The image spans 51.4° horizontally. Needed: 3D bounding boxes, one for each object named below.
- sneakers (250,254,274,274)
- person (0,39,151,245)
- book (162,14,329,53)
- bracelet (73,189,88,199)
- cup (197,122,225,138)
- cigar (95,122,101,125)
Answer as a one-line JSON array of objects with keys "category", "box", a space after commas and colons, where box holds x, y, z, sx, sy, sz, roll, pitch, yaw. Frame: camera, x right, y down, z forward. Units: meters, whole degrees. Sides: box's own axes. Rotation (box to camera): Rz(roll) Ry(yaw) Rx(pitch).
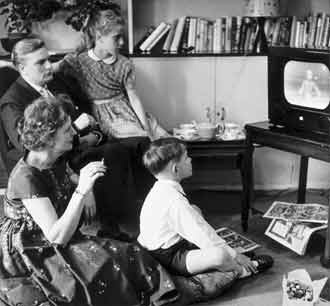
[{"category": "sneakers", "box": [0.493, 0.550, 1.715, 0.121, 0.059, 0.049, -8, -11, -18]}, {"category": "person", "box": [-0.491, -0.098, 1.652, 0.366, 0.559, 0.751, 4, 40, 21]}, {"category": "book", "box": [0.427, -0.672, 2.100, 1.256, 0.238, 0.312, -2, 16, -4]}, {"category": "bracelet", "box": [-0.363, 0.174, 1.486, 0.057, 0.035, 0.026, -9, 17, -18]}, {"category": "cup", "box": [0.263, -0.144, 2.045, 0.109, 0.078, 0.095, 3, 7, 7]}, {"category": "cigar", "box": [-0.355, -0.155, 1.793, 0.016, 0.013, 0.008, 4, -10, -6]}]
